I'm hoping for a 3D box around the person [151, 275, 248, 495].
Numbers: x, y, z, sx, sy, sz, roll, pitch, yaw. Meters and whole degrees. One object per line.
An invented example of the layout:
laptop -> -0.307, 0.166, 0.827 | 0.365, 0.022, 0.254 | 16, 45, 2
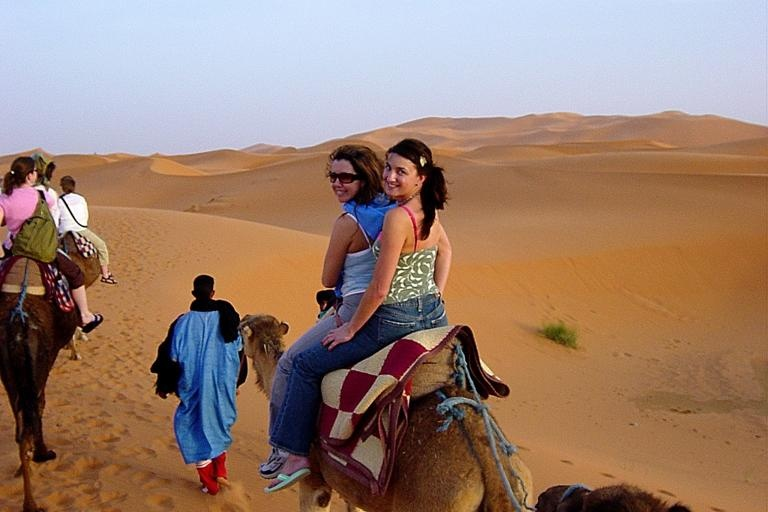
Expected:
person -> -2.488, 1.808, 8.593 | 1.162, 3.015, 0.649 | -1, 16, -12
